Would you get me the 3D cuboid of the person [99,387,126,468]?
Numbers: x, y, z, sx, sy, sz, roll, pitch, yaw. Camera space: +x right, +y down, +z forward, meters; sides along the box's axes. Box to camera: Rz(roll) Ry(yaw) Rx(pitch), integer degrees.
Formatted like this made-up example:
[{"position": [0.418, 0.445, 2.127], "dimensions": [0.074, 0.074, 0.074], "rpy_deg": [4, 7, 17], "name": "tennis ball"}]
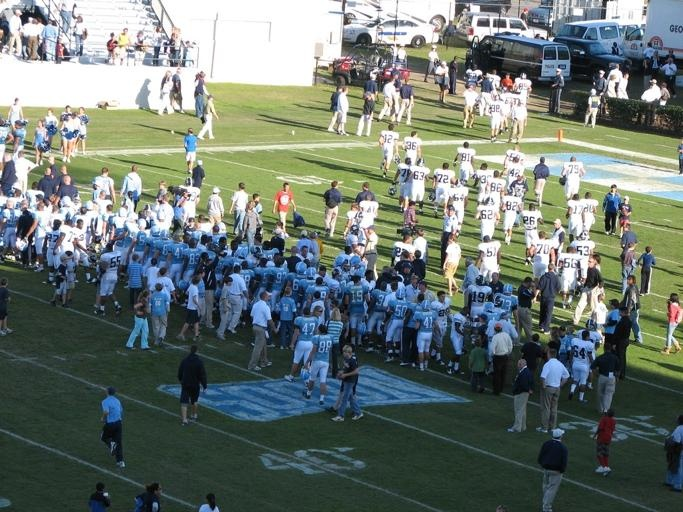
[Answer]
[{"position": [-5.712, 4.291, 37.599], "dimensions": [0.606, 2.021, 0.539], "rpy_deg": [3, 6, -11], "name": "person"}]
